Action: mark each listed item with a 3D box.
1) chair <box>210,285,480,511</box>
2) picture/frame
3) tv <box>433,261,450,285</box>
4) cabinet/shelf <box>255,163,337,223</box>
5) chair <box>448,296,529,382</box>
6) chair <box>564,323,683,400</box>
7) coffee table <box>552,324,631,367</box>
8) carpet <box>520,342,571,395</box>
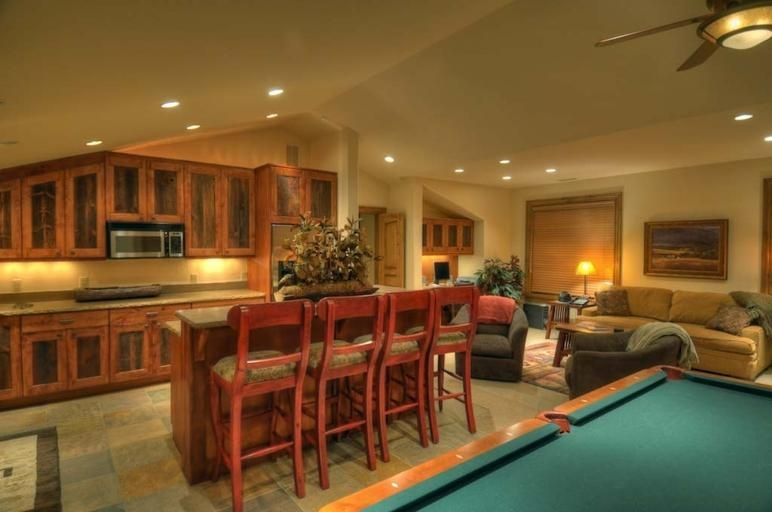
[{"bbox_3d":[-0.416,1.264,4.325,1.922,1.112,0.607,0,2,-32],"label":"chair"},{"bbox_3d":[4.752,-0.098,7.750,0.080,0.849,1.027,-2,3,-44],"label":"picture/frame"},{"bbox_3d":[1.096,0.350,9.774,0.460,0.432,0.147,3,-2,-35],"label":"tv"},{"bbox_3d":[-1.281,-0.856,6.935,1.136,0.996,0.424,2,-7,-34],"label":"cabinet/shelf"},{"bbox_3d":[1.369,1.107,6.661,1.209,0.839,1.156,-2,5,-18],"label":"chair"},{"bbox_3d":[2.506,1.296,5.313,1.125,0.938,1.053,0,6,36],"label":"chair"},{"bbox_3d":[2.699,1.114,6.871,0.876,0.612,0.868,-4,5,-44],"label":"coffee table"},{"bbox_3d":[2.213,1.521,6.898,0.590,0.008,1.029,5,27,10],"label":"carpet"}]
